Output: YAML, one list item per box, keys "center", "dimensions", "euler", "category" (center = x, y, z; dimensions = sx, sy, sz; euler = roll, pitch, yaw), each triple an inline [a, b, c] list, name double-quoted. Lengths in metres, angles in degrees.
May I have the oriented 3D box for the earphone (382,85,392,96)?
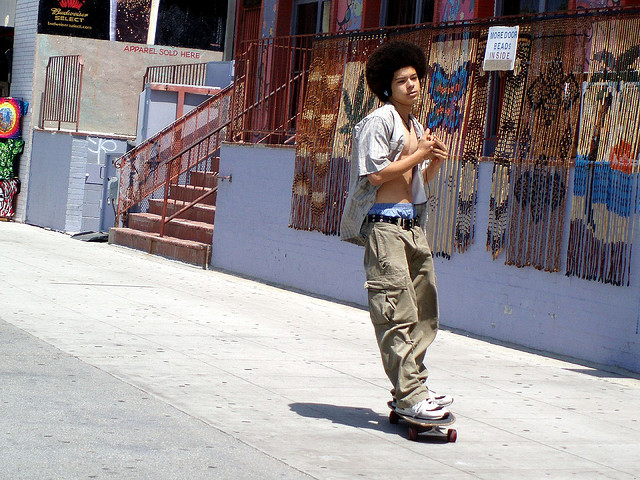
- center: [0.482, -1.096, 6.537]
  dimensions: [0.067, 0.075, 0.050]
  euler: [4, 5, 2]
  category: "earphone"

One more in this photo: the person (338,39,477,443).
- center: [0.615, -0.044, 6.434]
  dimensions: [0.690, 2.789, 0.965]
  euler: [1, 6, -33]
  category: "person"

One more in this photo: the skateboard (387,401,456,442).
- center: [0.680, 1.273, 6.343]
  dimensions: [0.284, 0.191, 0.537]
  euler: [-1, 8, -45]
  category: "skateboard"
